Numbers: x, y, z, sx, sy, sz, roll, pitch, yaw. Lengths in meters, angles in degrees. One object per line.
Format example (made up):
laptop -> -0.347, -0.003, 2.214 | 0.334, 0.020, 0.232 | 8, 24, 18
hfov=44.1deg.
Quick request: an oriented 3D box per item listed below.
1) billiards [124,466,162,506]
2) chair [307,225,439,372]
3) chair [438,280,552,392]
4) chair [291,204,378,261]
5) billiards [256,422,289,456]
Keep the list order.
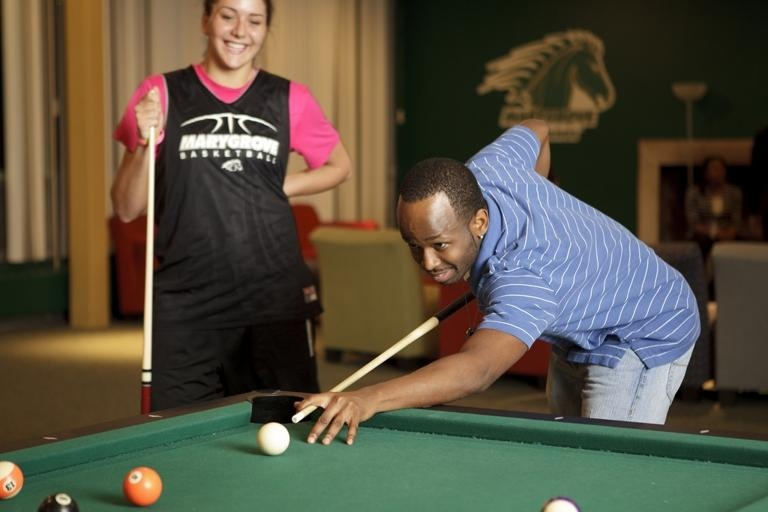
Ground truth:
billiards -> -0.794, 0.765, 3.170 | 0.118, 0.120, 0.120 | 23, -18, 9
chair -> 0.048, 0.244, 6.783 | 0.696, 1.036, 0.953 | 0, 0, 36
chair -> 0.616, 0.501, 5.957 | 0.579, 0.844, 0.711 | 2, 3, 15
chair -> -0.533, -0.277, 8.546 | 0.657, 0.712, 0.622 | -2, 0, 31
billiards -> -0.400, 0.658, 3.387 | 0.119, 0.131, 0.121 | 2, 35, -11
